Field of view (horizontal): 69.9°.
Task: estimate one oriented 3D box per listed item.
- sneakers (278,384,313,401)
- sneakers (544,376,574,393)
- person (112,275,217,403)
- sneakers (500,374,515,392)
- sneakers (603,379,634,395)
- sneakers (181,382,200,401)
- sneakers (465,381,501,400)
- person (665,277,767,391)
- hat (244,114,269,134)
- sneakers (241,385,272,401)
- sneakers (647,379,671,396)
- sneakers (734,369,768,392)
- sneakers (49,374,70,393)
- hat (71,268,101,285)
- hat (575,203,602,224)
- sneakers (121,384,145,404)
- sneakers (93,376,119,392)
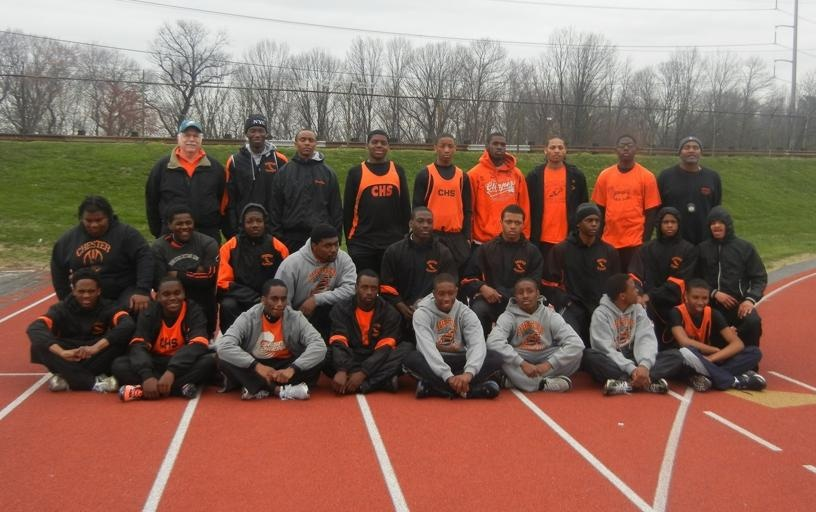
[{"bbox_3d":[-1.585,1.914,8.200,0.467,0.176,0.207,-1,3,14],"label":"sneakers"},{"bbox_3d":[2.196,1.889,8.650,0.512,0.168,0.213,1,28,13],"label":"sneakers"},{"bbox_3d":[-3.463,1.174,8.296,1.290,1.537,0.983,-7,16,-26],"label":"person"},{"bbox_3d":[1.491,1.924,8.817,0.171,0.210,0.201,-4,1,6],"label":"sneakers"},{"bbox_3d":[3.054,1.913,8.541,0.449,0.169,0.194,-2,4,-7],"label":"sneakers"},{"bbox_3d":[-3.065,1.896,8.171,0.117,0.149,0.319,-2,-23,-13],"label":"sneakers"},{"bbox_3d":[1.083,1.940,8.439,0.556,0.191,0.233,-4,15,10],"label":"sneakers"},{"bbox_3d":[4.701,1.204,8.994,1.202,1.529,1.507,-5,11,-4],"label":"person"},{"bbox_3d":[-2.705,-2.395,10.446,0.432,0.362,0.464,1,-14,-9],"label":"hat"},{"bbox_3d":[-2.120,1.918,8.297,0.450,0.195,0.160,-3,22,-7],"label":"sneakers"},{"bbox_3d":[3.676,1.936,8.568,0.181,0.148,0.375,-11,7,-10],"label":"sneakers"},{"bbox_3d":[5.109,1.901,8.711,0.276,0.212,0.581,-16,5,-20],"label":"sneakers"},{"bbox_3d":[-4.999,1.820,8.346,0.287,0.273,0.203,-2,-14,18],"label":"sneakers"},{"bbox_3d":[-4.707,0.319,8.561,0.274,0.149,0.316,1,-4,-3],"label":"hat"},{"bbox_3d":[2.969,-0.752,9.685,0.443,0.334,0.426,0,12,-12],"label":"hat"},{"bbox_3d":[-3.820,1.908,8.065,0.314,0.175,0.106,-7,8,-33],"label":"sneakers"},{"bbox_3d":[-4.302,1.849,8.387,0.338,0.152,0.190,4,-2,-1],"label":"sneakers"}]
